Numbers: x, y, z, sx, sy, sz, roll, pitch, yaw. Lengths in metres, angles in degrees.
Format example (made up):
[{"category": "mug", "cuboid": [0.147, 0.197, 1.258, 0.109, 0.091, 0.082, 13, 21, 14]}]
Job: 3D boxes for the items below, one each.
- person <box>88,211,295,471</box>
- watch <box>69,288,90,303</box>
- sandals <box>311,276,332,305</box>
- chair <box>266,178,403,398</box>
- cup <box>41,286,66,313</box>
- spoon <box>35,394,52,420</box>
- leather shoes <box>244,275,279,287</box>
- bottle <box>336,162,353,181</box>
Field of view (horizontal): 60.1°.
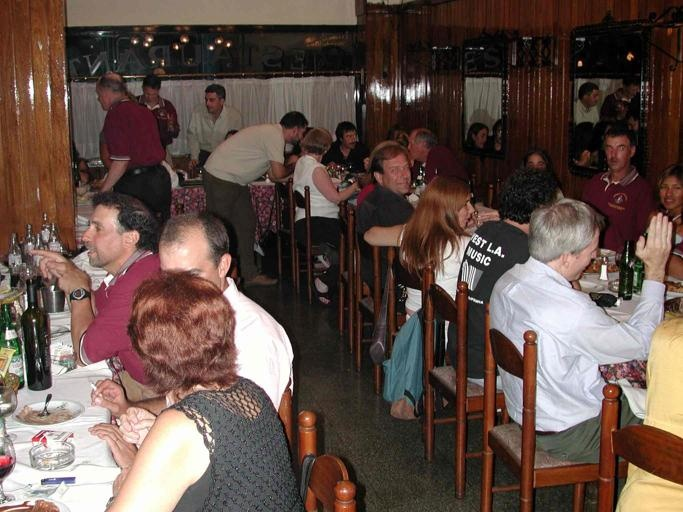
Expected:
[{"category": "person", "cuboid": [-0.636, 0.161, 2.616, 0.745, 1.400, 0.706, -6, 22, -20]}, {"category": "watch", "cuboid": [-1.241, 0.184, 2.792, 0.074, 0.063, 0.087, 3, 0, 7]}, {"category": "sandals", "cuboid": [-0.191, 0.349, 5.905, 0.146, 0.275, 0.135, -14, 12, 32]}, {"category": "chair", "cuboid": [0.009, 0.185, 5.009, 1.172, 2.306, 1.265, -1, 23, 1]}, {"category": "cup", "cuboid": [-1.514, 0.227, 3.096, 0.106, 0.108, 0.127, 0, 0, -3]}, {"category": "spoon", "cuboid": [-1.108, 0.564, 2.210, 0.032, 0.091, 0.015, 5, -26, -9]}, {"category": "leather shoes", "cuboid": [-0.881, 0.273, 6.447, 0.333, 0.170, 0.132, -4, 10, -10]}, {"category": "bottle", "cuboid": [0.043, -1.034, 7.296, 0.160, 0.311, 0.262, 0, 0, -33]}]
